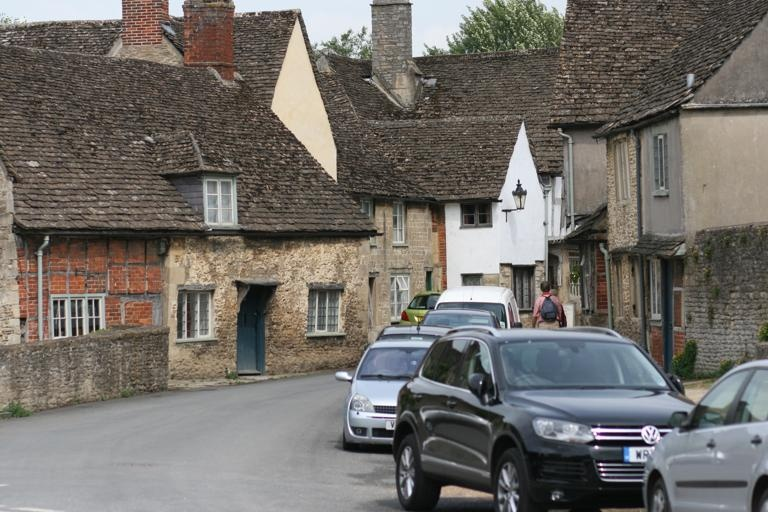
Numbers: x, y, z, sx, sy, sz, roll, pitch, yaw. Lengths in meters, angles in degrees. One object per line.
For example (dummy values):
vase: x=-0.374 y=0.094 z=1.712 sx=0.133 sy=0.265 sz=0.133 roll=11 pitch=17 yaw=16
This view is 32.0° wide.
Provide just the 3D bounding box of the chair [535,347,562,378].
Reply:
chair: x=2.948 y=1.912 z=24.087 sx=0.360 sy=0.556 sz=0.500 roll=0 pitch=-6 yaw=0

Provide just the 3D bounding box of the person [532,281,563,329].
person: x=4.638 y=1.494 z=37.880 sx=0.915 sy=1.570 sz=0.531 roll=-6 pitch=15 yaw=-2
